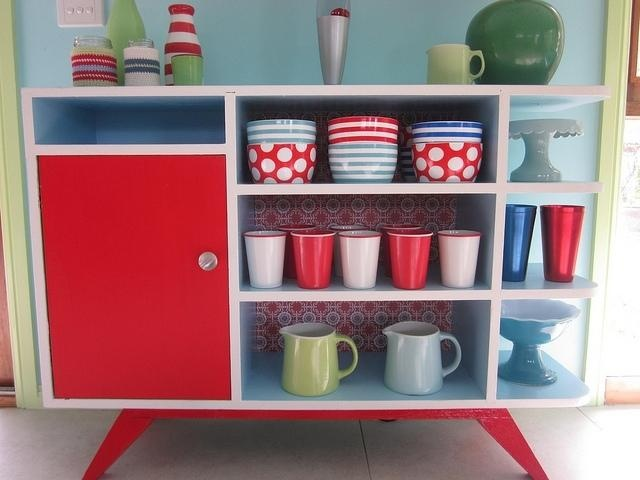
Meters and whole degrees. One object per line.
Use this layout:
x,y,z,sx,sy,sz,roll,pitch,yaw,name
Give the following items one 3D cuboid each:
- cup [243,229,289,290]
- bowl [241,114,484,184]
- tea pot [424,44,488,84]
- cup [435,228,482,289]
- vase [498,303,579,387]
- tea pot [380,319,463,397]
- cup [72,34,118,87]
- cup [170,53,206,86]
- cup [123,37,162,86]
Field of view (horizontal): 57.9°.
-0.146,0.058,1.655,0.145,0.150,0.138,0,6,0,cup
0.128,-0.249,1.600,0.659,0.183,0.198,-3,11,-6,bowl
0.367,-0.480,1.579,0.153,0.100,0.100,2,14,2,tea pot
0.378,0.052,1.652,0.146,0.159,0.143,0,7,0,cup
0.652,0.283,1.751,0.242,0.175,0.242,7,14,39,vase
0.277,0.357,1.702,0.237,0.167,0.160,1,5,-4,tea pot
-0.615,-0.482,1.560,0.135,0.141,0.123,2,14,0,cup
-0.359,-0.462,1.572,0.089,0.064,0.082,1,10,0,cup
-0.492,-0.477,1.580,0.095,0.104,0.052,-4,11,-12,cup
